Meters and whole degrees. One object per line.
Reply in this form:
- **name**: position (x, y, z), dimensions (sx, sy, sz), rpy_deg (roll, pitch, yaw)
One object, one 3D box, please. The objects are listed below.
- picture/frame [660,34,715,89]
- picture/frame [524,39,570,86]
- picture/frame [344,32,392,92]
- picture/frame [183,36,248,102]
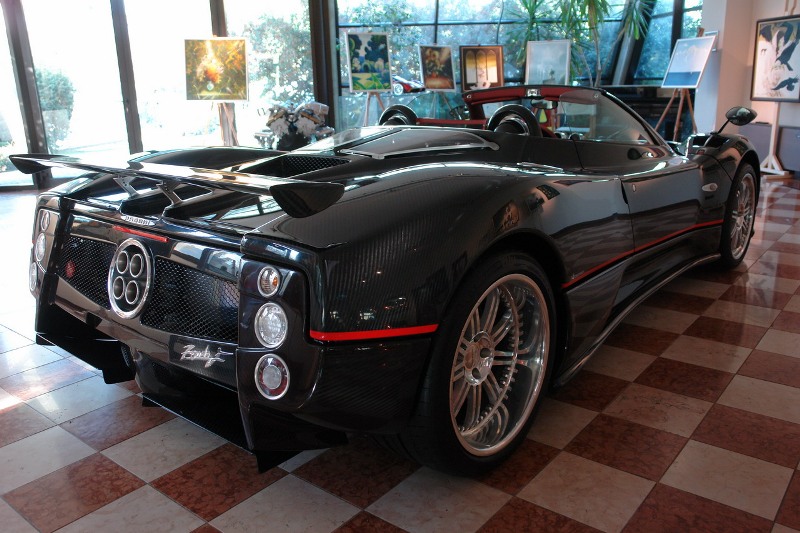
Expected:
- **picture/frame**: position (4.561, -3.285, 7.620), dimensions (0.624, 0.788, 0.687), rpy_deg (16, 28, 39)
- **picture/frame**: position (2.537, -3.521, 8.093), dimensions (0.631, 0.724, 0.974), rpy_deg (-2, 21, 2)
- **picture/frame**: position (-0.492, -3.256, 7.500), dimensions (0.664, 0.916, 0.427), rpy_deg (-4, 22, -4)
- **picture/frame**: position (-2.522, -2.719, 6.524), dimensions (0.922, 0.890, 0.090), rpy_deg (1, 4, 2)
